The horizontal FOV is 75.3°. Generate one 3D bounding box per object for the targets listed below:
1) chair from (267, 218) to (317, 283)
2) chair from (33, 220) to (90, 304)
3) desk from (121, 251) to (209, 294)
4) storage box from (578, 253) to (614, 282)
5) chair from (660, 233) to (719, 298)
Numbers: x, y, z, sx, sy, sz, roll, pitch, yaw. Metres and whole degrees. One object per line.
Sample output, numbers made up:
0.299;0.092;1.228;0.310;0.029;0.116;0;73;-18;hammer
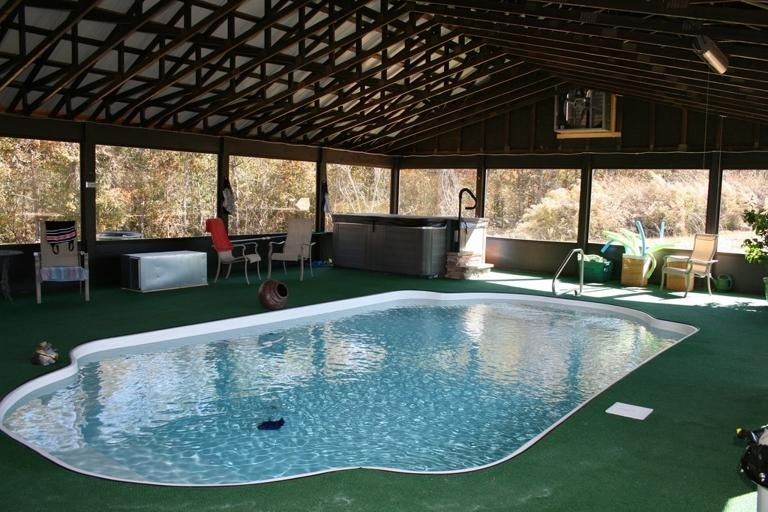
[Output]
-2.297;-0.272;12.169;0.997;1.393;3.033;-1;9;-11;chair
-5.896;0.069;9.025;0.804;1.426;1.559;-6;12;-32;chair
-4.460;0.291;10.192;1.410;0.726;0.676;-7;14;-42;desk
5.104;0.302;12.305;0.677;0.649;0.843;-4;9;-36;storage box
6.596;0.165;10.761;0.994;1.015;0.836;-7;14;-5;chair
